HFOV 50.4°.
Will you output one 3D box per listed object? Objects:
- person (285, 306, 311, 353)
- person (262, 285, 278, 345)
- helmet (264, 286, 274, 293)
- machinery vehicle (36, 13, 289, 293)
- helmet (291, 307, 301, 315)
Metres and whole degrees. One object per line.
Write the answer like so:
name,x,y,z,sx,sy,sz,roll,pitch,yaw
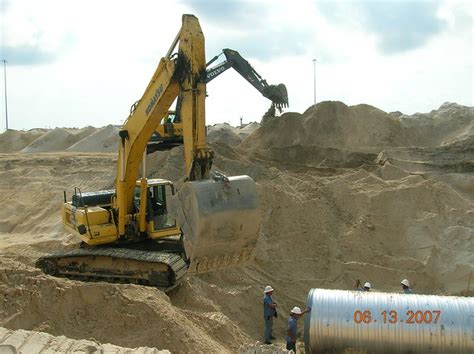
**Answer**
person,1.478,3.754,12.134,0.569,1.657,0.572,-6,36,-5
person,0.846,3.540,13.024,0.332,1.491,0.807,0,1,3
helmet,0.826,2.871,12.794,0.264,0.128,0.315,-7,-1,11
machinery vehicle,-0.869,0.032,15.306,7.919,8.189,4.483,-3,-1,43
helmet,1.407,3.176,11.891,0.276,0.138,0.291,5,-10,0
